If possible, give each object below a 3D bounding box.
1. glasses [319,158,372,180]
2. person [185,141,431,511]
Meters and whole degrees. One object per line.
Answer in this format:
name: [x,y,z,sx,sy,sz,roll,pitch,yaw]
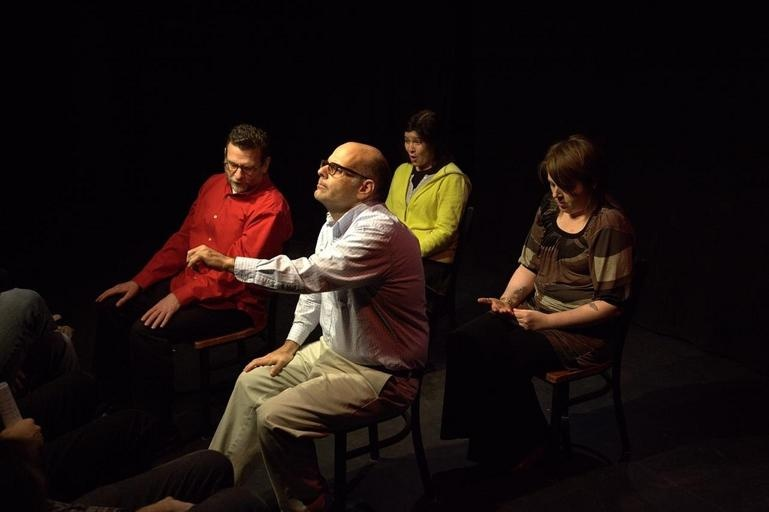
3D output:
glasses: [-0.216,-0.435,2.889,0.147,0.043,0.140,15,6,-20]
person: [-0.322,0.339,2.920,1.038,1.824,0.605,-7,11,-34]
